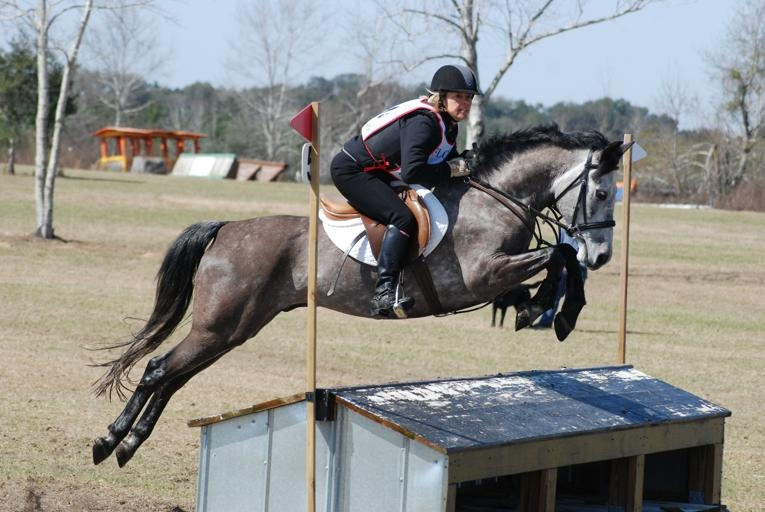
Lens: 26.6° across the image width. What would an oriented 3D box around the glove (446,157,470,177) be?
[{"bbox_3d":[1.032,-1.211,21.895,0.254,0.249,0.108,1,6,4],"label":"glove"}]
